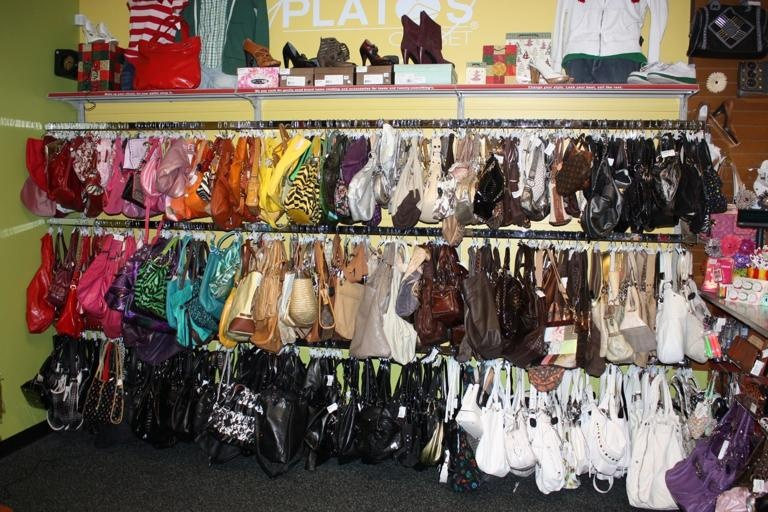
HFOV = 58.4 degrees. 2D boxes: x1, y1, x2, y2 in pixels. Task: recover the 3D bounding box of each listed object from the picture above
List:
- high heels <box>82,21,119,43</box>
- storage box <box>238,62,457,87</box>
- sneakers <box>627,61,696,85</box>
[{"bbox_3d":[-2.570,-2.008,6.206,0.292,0.141,0.193,19,31,31],"label":"high heels"},{"bbox_3d":[-0.271,-1.524,5.826,1.114,0.237,0.128,1,2,7],"label":"storage box"},{"bbox_3d":[2.298,-1.477,5.632,0.330,0.157,0.279,2,14,4],"label":"sneakers"}]
